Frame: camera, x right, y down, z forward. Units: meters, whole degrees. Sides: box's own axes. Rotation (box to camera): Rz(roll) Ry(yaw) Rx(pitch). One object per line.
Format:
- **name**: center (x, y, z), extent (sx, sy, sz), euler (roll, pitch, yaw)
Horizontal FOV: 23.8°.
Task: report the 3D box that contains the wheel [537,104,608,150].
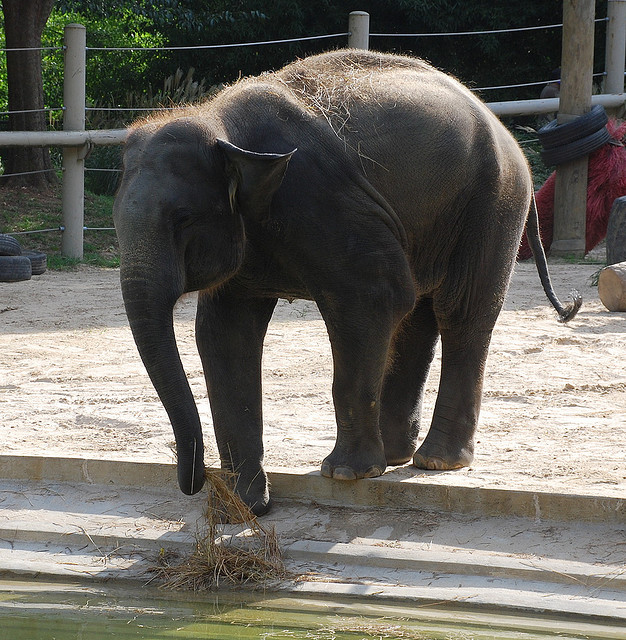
- **wheel**: center (1.812, -1.384, 10.532), extent (0.379, 0.133, 0.383), euler (-22, 5, 2)
